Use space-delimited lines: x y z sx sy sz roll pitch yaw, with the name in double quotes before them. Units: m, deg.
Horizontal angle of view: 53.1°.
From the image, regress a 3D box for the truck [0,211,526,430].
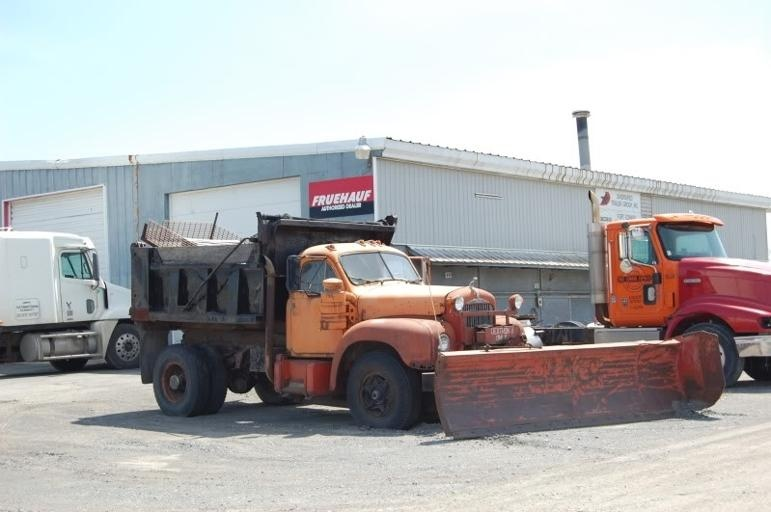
"truck" -1.361 1.171 14.716 6.919 3.636 3.637 -4 -5 37
